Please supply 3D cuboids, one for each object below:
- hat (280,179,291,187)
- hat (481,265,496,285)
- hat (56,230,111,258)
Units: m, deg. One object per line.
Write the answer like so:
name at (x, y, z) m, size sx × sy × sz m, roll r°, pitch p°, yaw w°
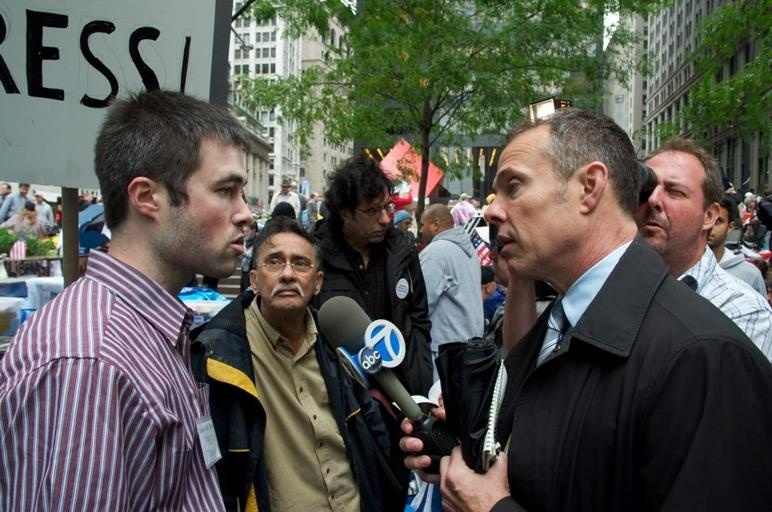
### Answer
hat at (-2.669, -1.909, 19.026) m, size 0.330 × 0.109 × 0.328 m, roll -1°, pitch 3°, yaw 0°
hat at (1.070, 0.205, 7.585) m, size 0.134 × 0.179 × 0.184 m, roll 8°, pitch -11°, yaw 38°
hat at (-2.452, -0.111, 5.930) m, size 0.385 × 0.126 × 0.374 m, roll -4°, pitch 4°, yaw -27°
